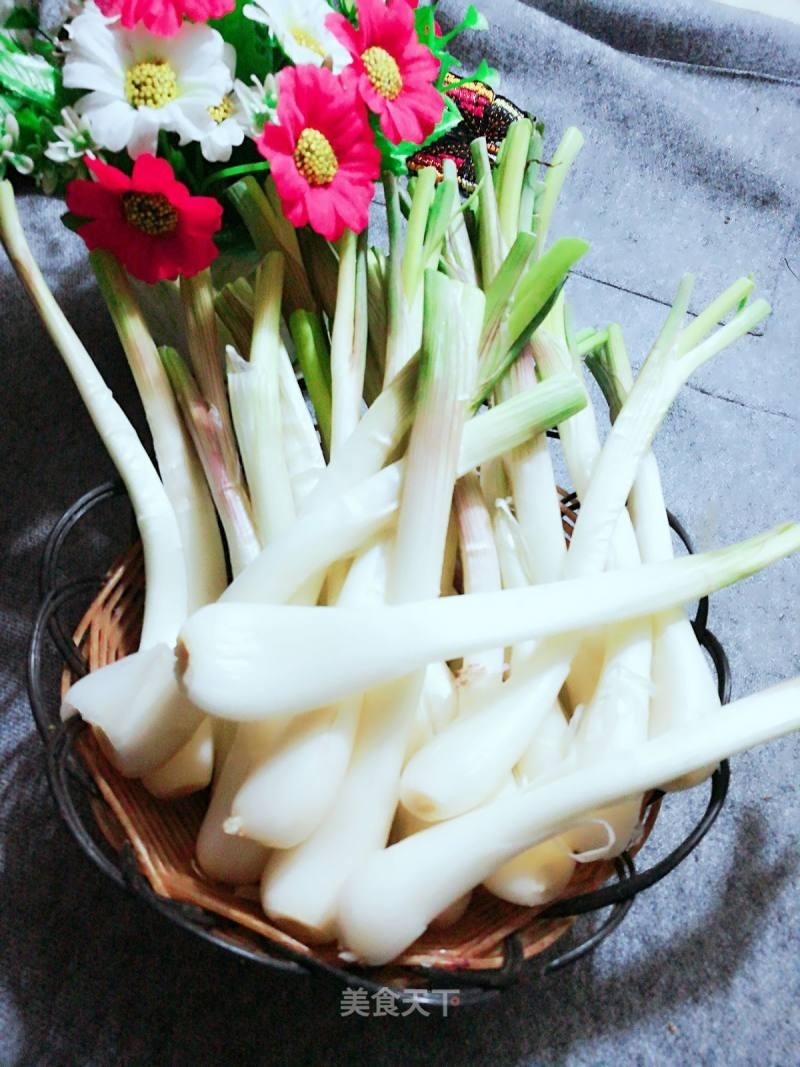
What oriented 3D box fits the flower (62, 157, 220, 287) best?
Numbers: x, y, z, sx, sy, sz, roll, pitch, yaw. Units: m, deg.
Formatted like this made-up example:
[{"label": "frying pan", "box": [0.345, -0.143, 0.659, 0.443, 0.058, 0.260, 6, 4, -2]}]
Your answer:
[{"label": "flower", "box": [-0.192, -0.238, 0.766, 0.099, 0.097, 0.042, 2, 46, 2]}]
